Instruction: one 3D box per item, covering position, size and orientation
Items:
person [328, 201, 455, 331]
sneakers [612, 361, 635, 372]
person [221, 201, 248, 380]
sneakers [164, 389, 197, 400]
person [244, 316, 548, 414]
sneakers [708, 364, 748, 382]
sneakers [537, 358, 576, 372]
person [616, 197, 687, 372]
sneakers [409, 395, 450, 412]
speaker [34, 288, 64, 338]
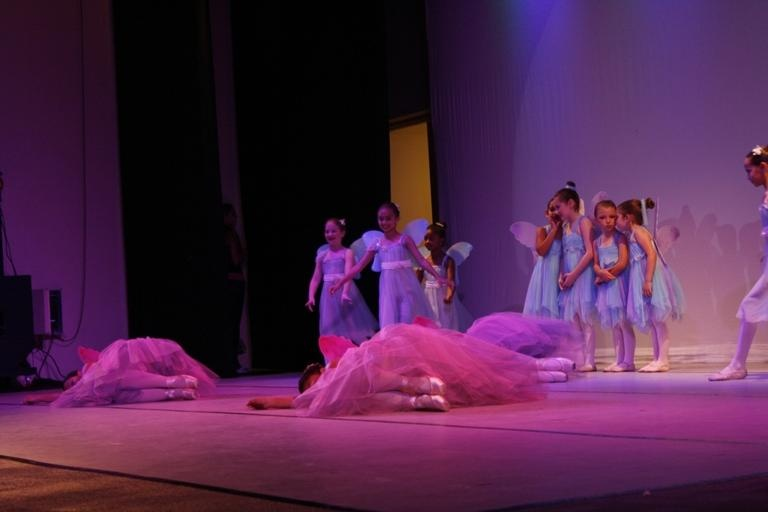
[{"bbox_3d":[0.084,0.055,4.760,0.748,0.992,0.335,-4,-4,27],"label":"person"},{"bbox_3d":[1.825,0.849,4.547,0.140,0.056,0.084,4,-8,-5],"label":"sneakers"},{"bbox_3d":[-1.421,0.254,5.614,0.204,1.677,0.917,-1,-3,-14],"label":"person"},{"bbox_3d":[-1.233,0.831,3.569,0.117,0.038,0.073,1,10,-19],"label":"sneakers"},{"bbox_3d":[0.124,0.585,2.930,0.812,0.266,0.744,-8,-14,6],"label":"person"},{"bbox_3d":[2.154,0.724,3.703,0.275,0.113,0.104,1,-9,-2],"label":"sneakers"},{"bbox_3d":[1.131,0.718,3.945,0.257,0.093,0.112,0,14,-1],"label":"sneakers"},{"bbox_3d":[1.994,0.189,4.531,0.423,1.336,0.413,-4,-4,43],"label":"person"},{"bbox_3d":[0.210,0.686,2.769,0.141,0.064,0.091,1,-19,16],"label":"sneakers"},{"bbox_3d":[-2.690,0.455,4.718,0.190,0.375,0.372,0,-5,-10],"label":"speaker"}]
